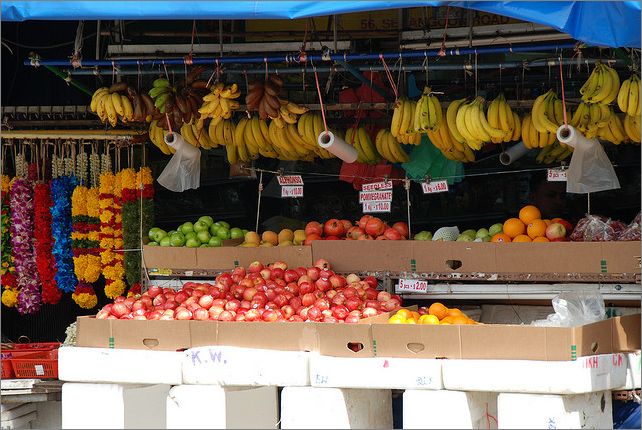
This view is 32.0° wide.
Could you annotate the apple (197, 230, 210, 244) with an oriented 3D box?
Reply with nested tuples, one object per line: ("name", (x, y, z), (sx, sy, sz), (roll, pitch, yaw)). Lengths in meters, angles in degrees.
("apple", (-0.986, 0.186, 9.407), (0.093, 0.119, 0.096), (-6, 13, -2))

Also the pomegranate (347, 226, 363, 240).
("pomegranate", (0.289, 0.143, 9.184), (0.135, 0.090, 0.136), (-2, 6, -1))

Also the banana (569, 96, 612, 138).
("banana", (2.088, -0.750, 8.583), (0.221, 0.320, 0.109), (4, -11, 13))

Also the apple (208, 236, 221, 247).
("apple", (-0.890, 0.219, 9.423), (0.077, 0.078, 0.081), (1, 4, 0))

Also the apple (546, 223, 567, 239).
("apple", (1.839, 0.132, 8.704), (0.118, 0.119, 0.124), (4, 25, 0))

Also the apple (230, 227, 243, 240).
("apple", (-0.715, 0.153, 9.542), (0.085, 0.091, 0.106), (-18, -17, 1))

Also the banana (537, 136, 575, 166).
("banana", (1.926, -0.542, 9.158), (0.145, 0.105, 0.295), (21, -37, -37))

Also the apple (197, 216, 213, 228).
("apple", (-0.982, 0.046, 9.552), (0.090, 0.112, 0.093), (-1, -17, 28))

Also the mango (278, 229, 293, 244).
("mango", (-0.287, 0.174, 9.373), (0.135, 0.113, 0.113), (-1, 16, -21))

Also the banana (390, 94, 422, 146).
("banana", (0.658, -0.753, 8.900), (0.182, 0.385, 0.127), (-6, -3, -41))

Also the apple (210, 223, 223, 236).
("apple", (-0.882, 0.124, 9.536), (0.098, 0.104, 0.095), (-1, -9, -9))

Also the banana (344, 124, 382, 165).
("banana", (0.360, -0.579, 9.373), (0.122, 0.384, 0.178), (-44, 21, -31))

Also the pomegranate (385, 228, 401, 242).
("pomegranate", (0.591, 0.153, 9.101), (0.141, 0.086, 0.118), (-2, 6, 8))

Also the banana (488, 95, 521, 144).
("banana", (1.407, -0.741, 8.766), (0.209, 0.418, 0.141), (-12, -7, -30))

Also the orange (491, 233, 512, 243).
("orange", (1.418, 0.187, 8.739), (0.085, 0.091, 0.102), (16, -11, -2))

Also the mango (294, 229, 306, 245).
("mango", (-0.170, 0.179, 9.280), (0.101, 0.123, 0.095), (1, -10, 26))

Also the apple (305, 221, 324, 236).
("apple", (-0.055, 0.118, 9.286), (0.142, 0.115, 0.221), (-2, 6, 7))

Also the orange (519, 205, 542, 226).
("orange", (1.651, -0.002, 8.797), (0.144, 0.178, 0.150), (-13, -10, 23))

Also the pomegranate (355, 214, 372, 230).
("pomegranate", (0.359, 0.062, 9.272), (0.099, 0.106, 0.124), (3, 26, 29))

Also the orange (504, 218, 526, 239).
("orange", (1.542, 0.128, 8.857), (0.144, 0.180, 0.149), (-13, -17, 28))

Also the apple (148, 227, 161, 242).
("apple", (-1.406, 0.163, 9.490), (0.104, 0.108, 0.105), (-8, 5, -15))

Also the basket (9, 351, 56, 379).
("basket", (-2.262, 1.179, 8.853), (0.290, 0.119, 0.220), (-1, -3, 5))

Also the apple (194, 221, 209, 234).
("apple", (-1.011, 0.099, 9.448), (0.093, 0.098, 0.097), (-17, -25, -18))

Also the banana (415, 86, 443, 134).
("banana", (0.852, -0.847, 8.755), (0.198, 0.411, 0.179), (0, 34, 8))

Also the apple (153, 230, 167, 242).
("apple", (-1.357, 0.169, 9.510), (0.109, 0.098, 0.094), (-6, -19, 16))

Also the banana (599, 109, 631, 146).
("banana", (2.361, -0.682, 8.763), (0.181, 0.228, 0.074), (32, -7, 42))

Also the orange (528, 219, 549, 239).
("orange", (1.707, 0.121, 8.807), (0.145, 0.171, 0.136), (34, -42, -28))

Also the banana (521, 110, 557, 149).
("banana", (1.704, -0.656, 8.803), (0.203, 0.304, 0.103), (-5, -5, 17))

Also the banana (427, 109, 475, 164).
("banana", (1.066, -0.578, 9.115), (0.228, 0.498, 0.166), (-21, 34, 31))

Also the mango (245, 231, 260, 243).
("mango", (-0.568, 0.180, 9.367), (0.126, 0.087, 0.181), (-3, 6, -3))

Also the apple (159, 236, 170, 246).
("apple", (-1.305, 0.223, 9.389), (0.068, 0.087, 0.071), (-15, -20, 16))

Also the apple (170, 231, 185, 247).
("apple", (-1.185, 0.196, 9.415), (0.129, 0.113, 0.111), (-13, 19, 15))

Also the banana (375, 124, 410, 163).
("banana", (0.568, -0.566, 9.332), (0.121, 0.346, 0.180), (-45, 11, 29))
